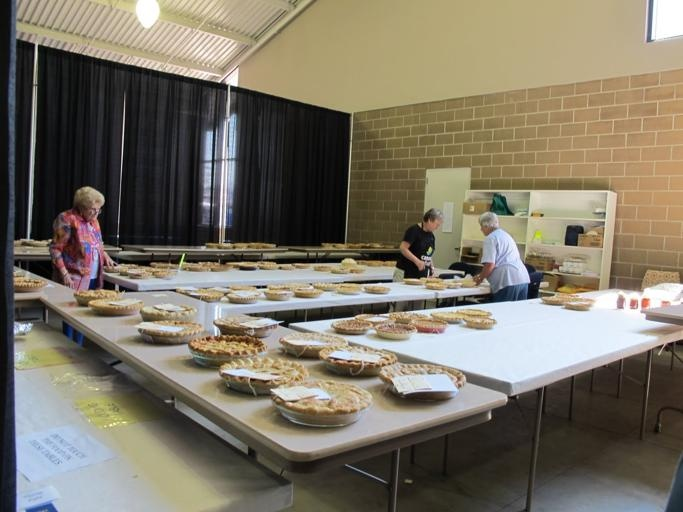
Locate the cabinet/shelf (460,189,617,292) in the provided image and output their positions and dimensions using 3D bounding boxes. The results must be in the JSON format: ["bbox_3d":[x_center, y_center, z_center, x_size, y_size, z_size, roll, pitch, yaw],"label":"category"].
[{"bbox_3d":[2.866,-0.223,6.575,1.800,1.339,0.428,7,-1,42],"label":"cabinet/shelf"}]
